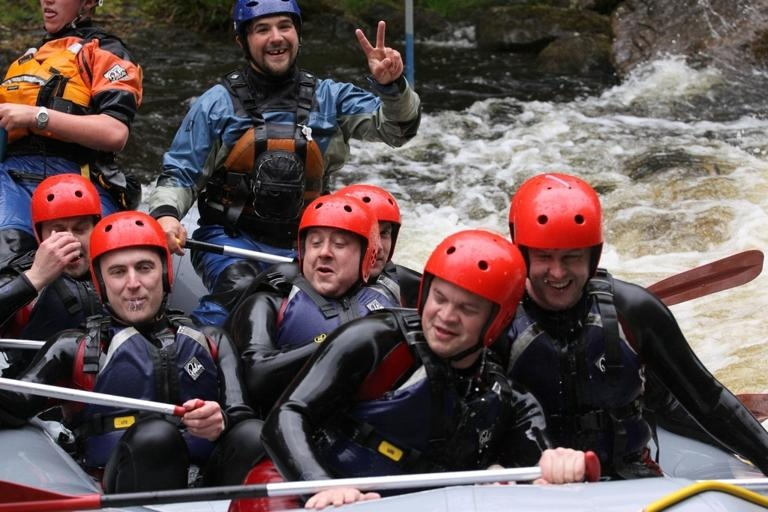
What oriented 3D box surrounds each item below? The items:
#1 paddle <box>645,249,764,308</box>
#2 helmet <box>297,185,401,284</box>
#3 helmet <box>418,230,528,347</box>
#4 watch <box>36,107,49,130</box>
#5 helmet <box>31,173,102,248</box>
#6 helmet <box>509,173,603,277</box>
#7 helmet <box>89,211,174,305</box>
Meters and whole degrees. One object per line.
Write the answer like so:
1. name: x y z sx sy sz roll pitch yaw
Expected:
1. paddle: 2.044 0.154 6.254 0.711 0.169 0.118 -25 14 1
2. helmet: -0.185 -0.146 5.140 0.384 0.417 0.547 1 -1 15
3. helmet: 0.450 0.123 4.604 0.418 0.497 0.536 26 6 20
4. watch: -1.919 -0.779 5.652 0.077 0.115 0.108 -1 -5 -18
5. helmet: -1.649 -0.247 5.400 0.311 0.395 0.379 -8 -5 -10
6. helmet: 0.771 -0.171 4.814 0.389 0.448 0.505 0 20 0
7. helmet: -1.303 0.011 4.957 0.353 0.441 0.462 -12 -8 -10
